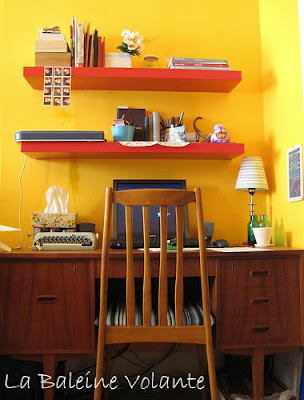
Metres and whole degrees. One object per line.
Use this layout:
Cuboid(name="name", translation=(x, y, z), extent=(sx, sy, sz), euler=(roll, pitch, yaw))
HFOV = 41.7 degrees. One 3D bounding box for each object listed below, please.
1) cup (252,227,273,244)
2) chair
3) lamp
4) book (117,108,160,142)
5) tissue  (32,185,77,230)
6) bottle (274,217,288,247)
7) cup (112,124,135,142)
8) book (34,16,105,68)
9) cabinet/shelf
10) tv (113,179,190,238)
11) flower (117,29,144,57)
Cuboid(name="cup", translation=(0.555, 0.174, 1.990), extent=(0.084, 0.077, 0.083), euler=(0, -2, 0))
Cuboid(name="chair", translation=(0.005, 0.344, 1.603), extent=(0.478, 0.771, 0.471), euler=(-1, -6, 6))
Cuboid(name="lamp", translation=(0.589, -0.080, 2.319), extent=(0.218, 0.354, 0.220), euler=(-1, -6, 1))
Cuboid(name="book", translation=(-0.082, -0.414, 2.224), extent=(0.185, 0.189, 0.098), euler=(-1, -7, -9))
Cuboid(name="tissue ", translation=(-0.510, 0.034, 2.151), extent=(0.263, 0.221, 0.226), euler=(1, 1, -26))
Cuboid(name="bottle", translation=(0.706, 0.180, 2.198), extent=(0.066, 0.154, 0.202), euler=(-2, -6, 15))
Cuboid(name="cup", translation=(-0.164, -0.355, 2.142), extent=(0.087, 0.077, 0.100), euler=(1, 0, 12))
Cuboid(name="book", translation=(-0.449, -0.792, 2.178), extent=(0.295, 0.197, 0.306), euler=(0, 11, -3))
Cuboid(name="cabinet/shelf", translation=(-0.117, -0.497, 2.312), extent=(1.202, 0.468, 0.344), euler=(1, 3, 2))
Cuboid(name="tv", translation=(-0.017, 0.051, 1.816), extent=(0.300, 0.274, 0.108), euler=(0, -4, -3))
Cuboid(name="flower", translation=(-0.110, -0.881, 2.235), extent=(0.128, 0.146, 0.118), euler=(3, -7, -33))
